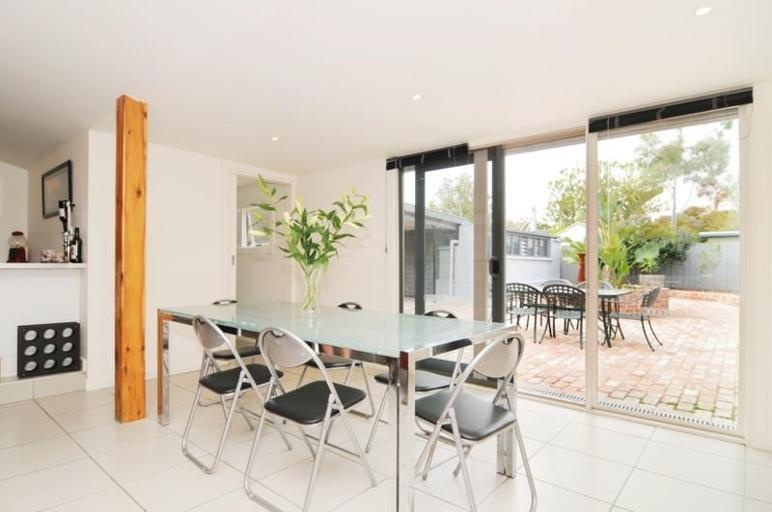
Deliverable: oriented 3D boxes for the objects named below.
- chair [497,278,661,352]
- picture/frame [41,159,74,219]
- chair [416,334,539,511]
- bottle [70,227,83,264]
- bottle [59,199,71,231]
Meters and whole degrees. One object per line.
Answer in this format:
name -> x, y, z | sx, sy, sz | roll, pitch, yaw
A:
chair -> 2.083, 0.647, 5.454 | 1.603, 0.691, 0.398 | -5, -3, 40
picture/frame -> -3.917, -0.814, 5.964 | 0.870, 0.608, 0.043 | -2, -1, 44
chair -> 0.646, 1.265, 3.791 | 0.939, 1.032, 1.112 | -3, -3, 15
bottle -> -3.412, -0.122, 5.484 | 0.124, 0.390, 0.109 | -1, -2, -40
bottle -> -3.617, -0.461, 5.629 | 0.119, 0.390, 0.293 | -1, -2, -33
